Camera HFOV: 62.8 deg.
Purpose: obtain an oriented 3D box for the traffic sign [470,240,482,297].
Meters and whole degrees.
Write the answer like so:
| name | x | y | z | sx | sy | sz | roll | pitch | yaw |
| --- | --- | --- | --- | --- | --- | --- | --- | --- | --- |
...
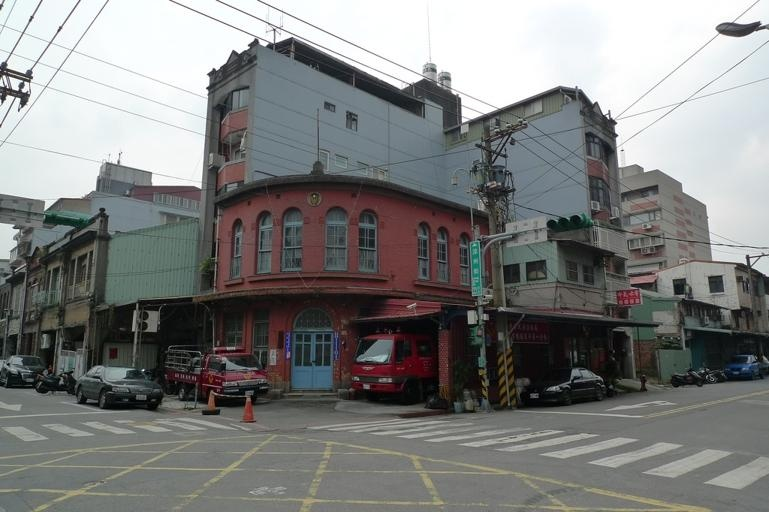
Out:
| name | x | y | z | sx | sy | sz | roll | pitch | yaw |
| --- | --- | --- | --- | --- | --- | --- | --- | --- | --- |
| traffic sign | 4.588 | 0.723 | 31.824 | 0.699 | 2.838 | 0.155 | -11 | 18 | -20 |

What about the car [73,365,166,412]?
| name | x | y | z | sx | sy | sz | roll | pitch | yaw |
| --- | --- | --- | --- | --- | --- | --- | --- | --- | --- |
| car | -12.954 | 6.445 | 30.843 | 4.435 | 2.277 | 1.826 | -10 | -17 | 27 |

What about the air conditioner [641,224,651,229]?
| name | x | y | z | sx | sy | sz | roll | pitch | yaw |
| --- | --- | --- | --- | --- | --- | --- | --- | --- | --- |
| air conditioner | 30.501 | -3.426 | 73.359 | 0.916 | 0.597 | 0.915 | -9 | -16 | 26 |

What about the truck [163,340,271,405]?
| name | x | y | z | sx | sy | sz | roll | pitch | yaw |
| --- | --- | --- | --- | --- | --- | --- | --- | --- | --- |
| truck | -9.817 | 6.054 | 33.460 | 7.915 | 3.567 | 3.048 | -15 | -20 | 41 |

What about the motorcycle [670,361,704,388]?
| name | x | y | z | sx | sy | sz | roll | pitch | yaw |
| --- | --- | --- | --- | --- | --- | --- | --- | --- | --- |
| motorcycle | 21.514 | 8.751 | 44.731 | 2.381 | 1.422 | 1.153 | -1 | -7 | 6 |

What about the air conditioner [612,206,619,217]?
| name | x | y | z | sx | sy | sz | roll | pitch | yaw |
| --- | --- | --- | --- | --- | --- | --- | --- | --- | --- |
| air conditioner | 18.503 | -3.516 | 50.574 | 0.353 | 0.685 | 0.762 | -8 | -13 | 36 |

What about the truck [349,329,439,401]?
| name | x | y | z | sx | sy | sz | roll | pitch | yaw |
| --- | --- | --- | --- | --- | --- | --- | --- | --- | --- |
| truck | 1.187 | 6.032 | 33.905 | 3.424 | 3.364 | 5.948 | -7 | -12 | 41 |

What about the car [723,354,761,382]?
| name | x | y | z | sx | sy | sz | roll | pitch | yaw |
| --- | --- | --- | --- | --- | --- | --- | --- | --- | --- |
| car | 28.958 | 9.080 | 51.135 | 2.853 | 2.039 | 1.769 | 12 | -20 | -43 |

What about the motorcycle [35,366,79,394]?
| name | x | y | z | sx | sy | sz | roll | pitch | yaw |
| --- | --- | --- | --- | --- | --- | --- | --- | --- | --- |
| motorcycle | -18.979 | 7.550 | 37.835 | 1.510 | 1.874 | 3.334 | 0 | -6 | 12 |

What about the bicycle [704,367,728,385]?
| name | x | y | z | sx | sy | sz | roll | pitch | yaw |
| --- | --- | --- | --- | --- | --- | --- | --- | --- | --- |
| bicycle | 24.861 | 9.170 | 47.657 | 0.796 | 1.023 | 3.814 | -12 | -18 | 33 |

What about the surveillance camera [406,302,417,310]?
| name | x | y | z | sx | sy | sz | roll | pitch | yaw |
| --- | --- | --- | --- | --- | --- | --- | --- | --- | --- |
| surveillance camera | 1.444 | 2.691 | 33.275 | 0.380 | 0.441 | 0.853 | 1 | -15 | -11 |

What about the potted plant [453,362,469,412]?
| name | x | y | z | sx | sy | sz | roll | pitch | yaw |
| --- | --- | --- | --- | --- | --- | --- | --- | --- | --- |
| potted plant | 3.763 | 6.406 | 30.858 | 0.834 | 2.419 | 0.523 | -1 | -15 | -2 |

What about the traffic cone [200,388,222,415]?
| name | x | y | z | sx | sy | sz | roll | pitch | yaw |
| --- | --- | --- | --- | --- | --- | --- | --- | --- | --- |
| traffic cone | -7.903 | 6.754 | 28.790 | 0.762 | 1.094 | 0.705 | 3 | -15 | -17 |

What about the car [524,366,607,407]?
| name | x | y | z | sx | sy | sz | roll | pitch | yaw |
| --- | --- | --- | --- | --- | --- | --- | --- | --- | --- |
| car | 9.444 | 6.869 | 33.233 | 4.684 | 1.941 | 1.456 | 8 | -18 | -33 |
